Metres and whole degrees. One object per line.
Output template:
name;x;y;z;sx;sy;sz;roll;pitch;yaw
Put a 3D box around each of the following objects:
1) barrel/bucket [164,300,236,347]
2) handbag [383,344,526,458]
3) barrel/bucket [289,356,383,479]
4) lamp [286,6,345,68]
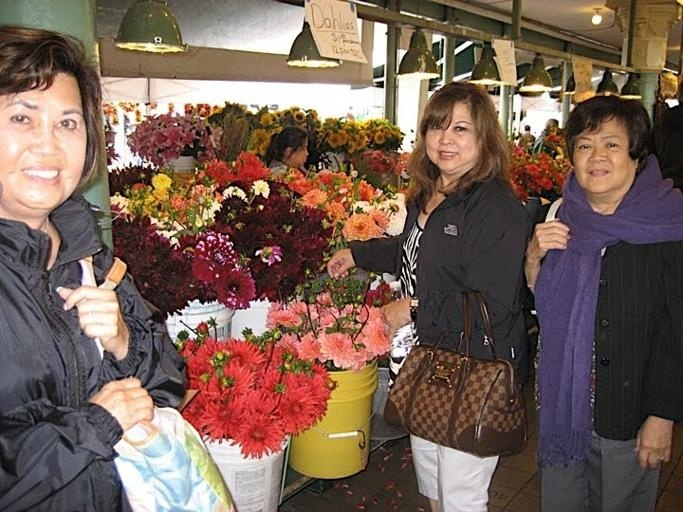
barrel/bucket;-0.603;0.265;2.211;0.201;0.200;0.198;1;-1;0
handbag;0.404;0.451;1.890;0.266;0.451;0.478;10;-8;-34
barrel/bucket;-0.071;0.756;2.503;0.444;0.450;0.415;2;7;0
lamp;-0.196;-1.508;3.825;0.504;0.473;0.496;-1;11;-4
